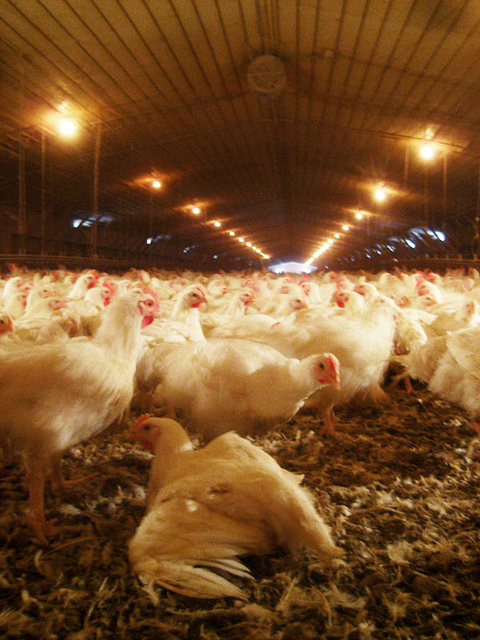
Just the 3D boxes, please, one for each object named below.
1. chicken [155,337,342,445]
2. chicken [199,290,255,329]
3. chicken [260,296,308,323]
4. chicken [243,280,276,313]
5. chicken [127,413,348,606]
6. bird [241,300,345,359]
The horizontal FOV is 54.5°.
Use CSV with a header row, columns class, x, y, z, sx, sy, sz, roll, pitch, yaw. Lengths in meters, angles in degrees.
class,x,y,z,sx,sy,sz,roll,pitch,yaw
chicken,-0.019,0.298,2.827,1.070,0.636,0.529,12,18,13
chicken,-0.125,-0.103,4.887,0.547,0.423,0.479,1,6,-4
chicken,0.401,-0.115,4.505,0.329,0.116,0.313,2,15,31
chicken,0.225,-0.368,6.593,0.301,0.456,0.853,-4,5,-2
chicken,-0.056,0.726,1.973,0.793,0.387,0.759,-2,14,-8
bird,0.364,0.038,3.458,0.782,0.514,0.375,-3,11,-3
